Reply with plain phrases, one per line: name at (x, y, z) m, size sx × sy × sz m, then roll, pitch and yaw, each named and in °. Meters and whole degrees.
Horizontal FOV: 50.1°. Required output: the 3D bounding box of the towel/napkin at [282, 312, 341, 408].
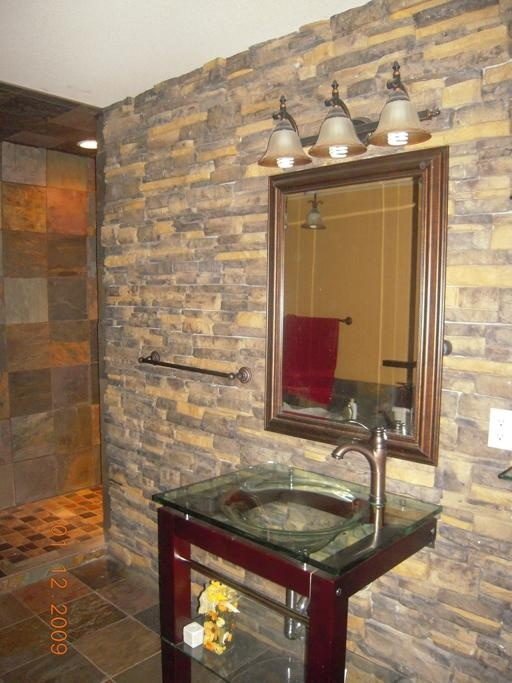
towel/napkin at (0.183, 0.054, 1.788) m, size 0.210 × 0.264 × 0.030 m, roll 3°, pitch 4°, yaw 29°
